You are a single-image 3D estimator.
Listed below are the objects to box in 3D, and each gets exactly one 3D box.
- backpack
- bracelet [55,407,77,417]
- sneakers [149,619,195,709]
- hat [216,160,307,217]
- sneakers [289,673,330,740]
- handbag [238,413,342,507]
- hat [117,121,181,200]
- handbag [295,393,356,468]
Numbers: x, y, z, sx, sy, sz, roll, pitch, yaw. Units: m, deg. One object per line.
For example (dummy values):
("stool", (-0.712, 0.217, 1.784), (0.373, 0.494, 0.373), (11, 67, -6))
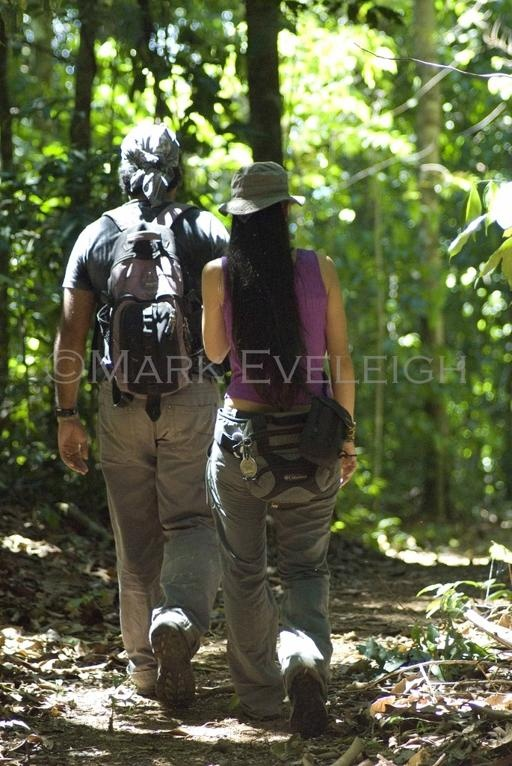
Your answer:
("backpack", (-0.398, -0.277, 3.337), (0.501, 0.716, 0.487), (7, 11, 32))
("bracelet", (-0.713, 0.110, 3.356), (0.060, 0.030, 0.055), (3, 2, 10))
("sneakers", (-0.280, 0.954, 3.066), (0.146, 0.341, 0.193), (-8, 22, -10))
("hat", (0.011, -0.638, 2.877), (0.284, 0.133, 0.251), (-19, 25, -36))
("sneakers", (0.163, 0.971, 2.750), (0.118, 0.226, 0.102), (-2, 21, -1))
("handbag", (0.118, 0.223, 2.806), (0.346, 0.309, 0.187), (-5, 11, -4))
("hat", (-0.394, -0.823, 3.452), (0.261, 0.295, 0.165), (1, -10, 16))
("handbag", (0.238, 0.145, 2.784), (0.099, 0.163, 0.252), (-7, -4, 39))
